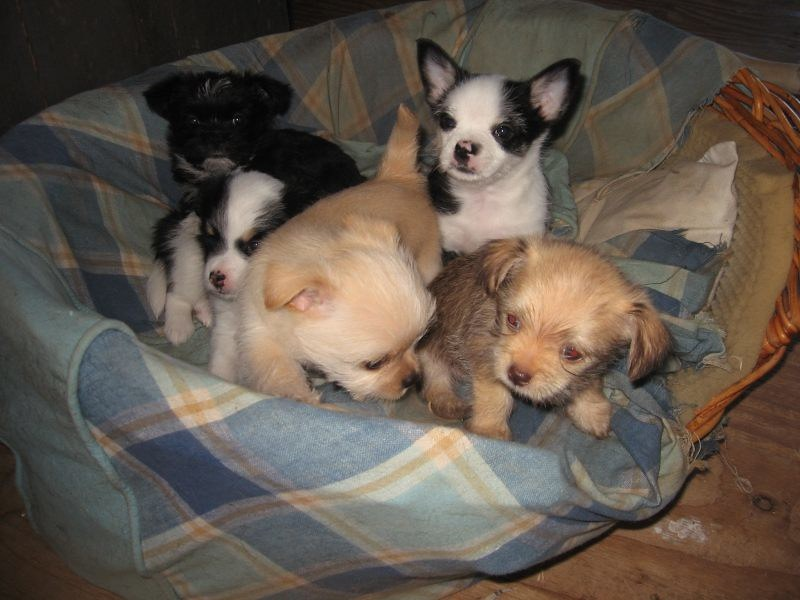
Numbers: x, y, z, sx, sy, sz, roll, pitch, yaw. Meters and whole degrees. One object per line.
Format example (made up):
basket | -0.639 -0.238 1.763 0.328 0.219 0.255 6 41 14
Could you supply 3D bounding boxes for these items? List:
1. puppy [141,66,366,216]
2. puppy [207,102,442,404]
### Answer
puppy | -0.751 -0.920 4.730 0.831 0.769 1.204 -16 9 41
puppy | -0.334 -0.145 3.860 0.916 0.768 1.286 -20 37 60
